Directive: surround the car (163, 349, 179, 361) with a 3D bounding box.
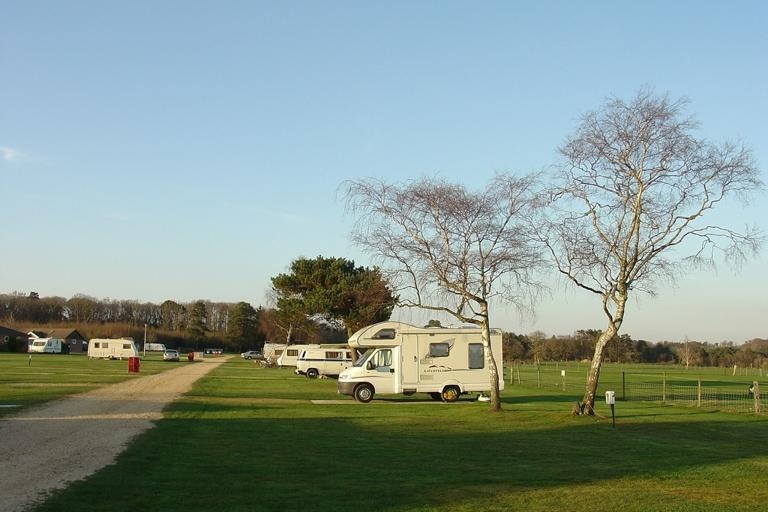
[{"bbox_3d":[-24.765,11.601,79.796,1.184,0.852,2.553,3,2,-11],"label":"car"}]
